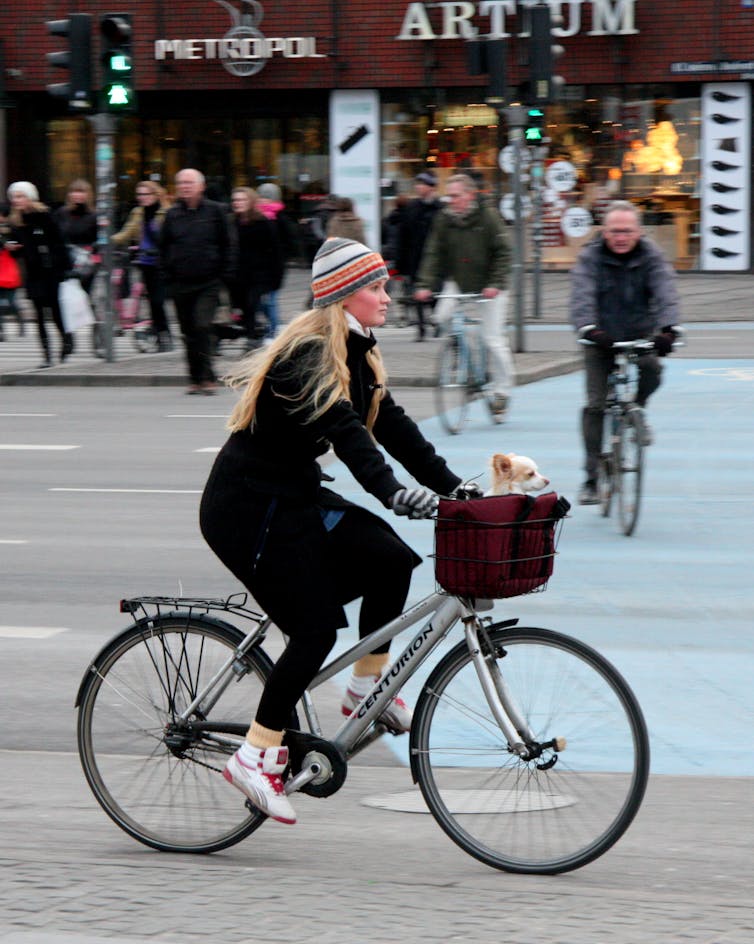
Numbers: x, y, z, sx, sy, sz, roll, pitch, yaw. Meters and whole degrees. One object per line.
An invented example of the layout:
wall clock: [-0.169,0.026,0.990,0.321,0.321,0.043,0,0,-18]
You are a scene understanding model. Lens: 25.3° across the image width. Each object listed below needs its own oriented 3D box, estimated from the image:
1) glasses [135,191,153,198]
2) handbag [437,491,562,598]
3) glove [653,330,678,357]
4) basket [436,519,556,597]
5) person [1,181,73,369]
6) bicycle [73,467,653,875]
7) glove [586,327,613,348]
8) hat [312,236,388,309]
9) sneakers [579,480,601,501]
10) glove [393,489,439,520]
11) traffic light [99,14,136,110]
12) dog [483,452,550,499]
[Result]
glasses: [-2.593,-3.124,18.897,0.151,0.133,0.253,-1,10,-6]
handbag: [0.282,0.180,4.051,0.276,0.231,0.378,2,2,33]
glove: [1.545,-0.698,8.958,0.120,0.150,0.325,3,10,11]
basket: [0.304,0.187,4.039,0.292,0.163,0.283,11,-8,-20]
person: [-3.678,-2.168,18.572,0.637,2.009,1.419,-2,11,-11]
bicycle: [-0.066,0.530,4.223,1.636,0.855,0.340,-4,-15,30]
glove: [1.204,-0.719,9.039,0.133,0.052,0.084,28,-4,38]
hat: [-0.060,-0.520,4.328,0.233,0.167,0.218,-12,5,-3]
sneakers: [1.229,0.111,9.662,0.115,0.092,0.175,1,7,4]
glove: [0.090,0.073,3.994,0.078,0.040,0.088,1,10,-3]
traffic light: [-2.632,-4.145,17.108,0.323,0.962,0.519,-2,12,-9]
dog: [0.376,0.002,4.486,0.161,0.085,0.115,-3,-1,31]
